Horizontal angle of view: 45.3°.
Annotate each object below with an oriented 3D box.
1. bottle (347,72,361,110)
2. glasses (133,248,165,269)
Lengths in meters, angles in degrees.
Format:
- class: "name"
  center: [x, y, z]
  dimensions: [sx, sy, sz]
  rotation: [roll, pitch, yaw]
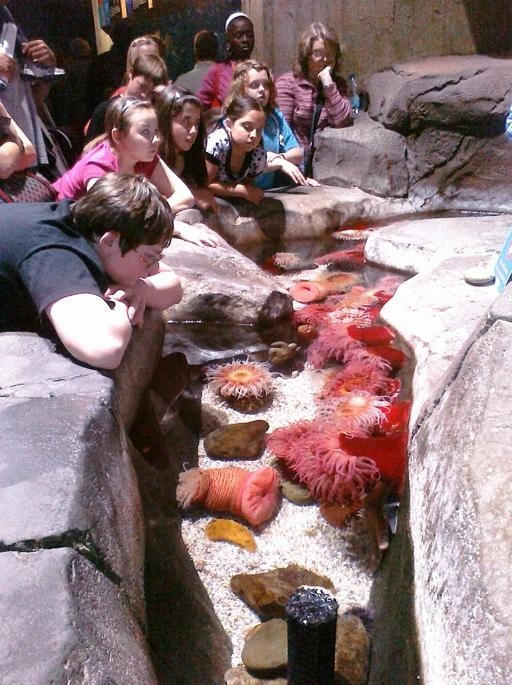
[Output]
- class: "bottle"
  center: [1.068, -2.676, 6.631]
  dimensions: [0.145, 0.539, 0.204]
  rotation: [1, -15, 4]
- class: "glasses"
  center: [-0.356, -0.282, 2.046]
  dimensions: [0.074, 0.022, 0.071]
  rotation: [13, 21, 27]
